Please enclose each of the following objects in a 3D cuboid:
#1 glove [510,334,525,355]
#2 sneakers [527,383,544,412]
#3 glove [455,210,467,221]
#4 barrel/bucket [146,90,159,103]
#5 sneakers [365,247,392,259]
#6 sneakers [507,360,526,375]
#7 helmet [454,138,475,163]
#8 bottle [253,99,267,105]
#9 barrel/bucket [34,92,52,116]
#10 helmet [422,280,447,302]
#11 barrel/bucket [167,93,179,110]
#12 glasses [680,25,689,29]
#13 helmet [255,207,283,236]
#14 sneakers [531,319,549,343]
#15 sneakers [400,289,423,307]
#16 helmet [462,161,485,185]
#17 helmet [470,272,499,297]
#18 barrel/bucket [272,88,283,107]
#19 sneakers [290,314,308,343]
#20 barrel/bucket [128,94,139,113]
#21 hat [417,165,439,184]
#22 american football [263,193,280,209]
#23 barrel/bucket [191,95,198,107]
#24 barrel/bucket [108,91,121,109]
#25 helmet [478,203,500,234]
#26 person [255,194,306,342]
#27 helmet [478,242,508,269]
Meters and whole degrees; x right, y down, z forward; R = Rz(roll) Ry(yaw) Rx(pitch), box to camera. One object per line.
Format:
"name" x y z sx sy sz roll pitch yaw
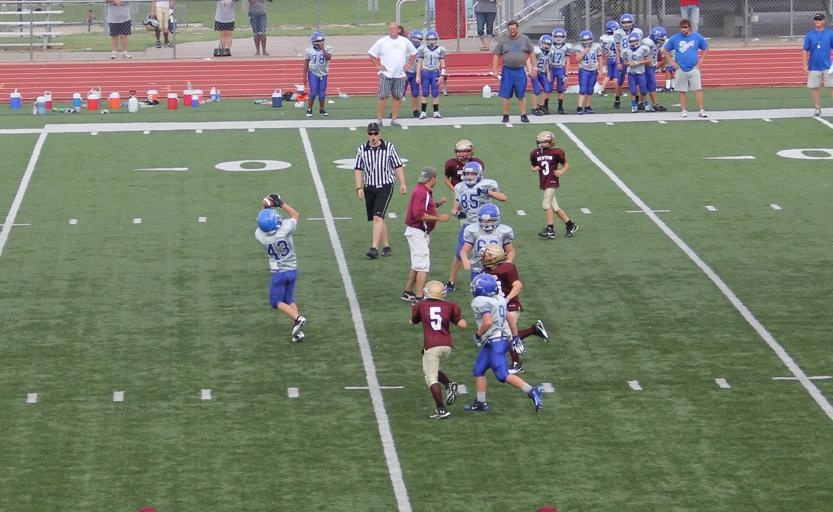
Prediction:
"glove" 1.227 1.057 14.006 0.208 0.070 0.266 3 38 -22
"sneakers" 1.421 1.659 13.406 0.214 0.335 0.138 -9 25 11
"glove" 0.619 -0.554 15.661 0.132 0.154 0.200 -4 19 1
"barrel/bucket" -5.991 -3.648 26.191 0.400 0.265 0.338 -2 5 -15
"sneakers" -0.558 -0.063 17.500 0.159 0.132 0.410 -2 -1 36
"sneakers" 1.241 1.391 14.285 0.114 0.100 0.280 -1 0 25
"helmet" 0.682 -1.493 16.170 0.351 0.266 0.388 0 15 11
"bottle" -3.524 -3.538 26.276 0.334 0.062 0.337 -2 17 1
"barrel/bucket" -8.154 -3.310 25.076 0.390 0.376 0.559 -8 20 -11
"helmet" 0.212 0.406 13.441 0.215 0.234 0.339 -2 19 5
"barrel/bucket" -5.455 -3.492 25.767 0.226 0.364 0.448 -8 20 -8
"glasses" 5.408 -4.650 23.205 0.104 0.051 0.120 3 14 22
"helmet" -1.892 -0.450 14.790 0.349 0.319 0.315 15 10 15
"sneakers" 1.607 0.965 14.514 0.194 0.380 0.127 -23 39 16
"sneakers" -0.067 0.571 15.999 0.410 0.133 0.130 8 4 12
"helmet" 0.773 -1.154 15.770 0.267 0.284 0.270 -5 20 -2
"helmet" 0.854 0.319 13.462 0.376 0.235 0.252 13 36 23
"barrel/bucket" -3.124 -3.557 25.824 0.220 0.412 0.357 -9 21 -9
"sneakers" -1.496 0.953 14.987 0.190 0.374 0.183 -12 54 -41
"barrel/bucket" -6.232 -3.392 25.340 0.216 0.371 0.427 -9 20 -9
"hat" 0.188 -1.158 15.734 0.259 0.137 0.292 11 37 17
"american football" -1.865 -0.704 14.741 0.253 0.138 0.189 -15 7 12
"barrel/bucket" -4.997 -3.537 26.080 0.173 0.247 0.349 -9 20 -10
"barrel/bucket" -6.715 -3.488 25.662 0.266 0.348 0.488 -10 20 -14
"helmet" 0.924 -0.489 14.715 0.246 0.360 0.266 -4 21 1
"person" -1.738 0.089 15.110 0.554 1.937 1.155 -8 22 -6
"helmet" 0.943 0.006 13.912 0.368 0.219 0.257 12 19 32
